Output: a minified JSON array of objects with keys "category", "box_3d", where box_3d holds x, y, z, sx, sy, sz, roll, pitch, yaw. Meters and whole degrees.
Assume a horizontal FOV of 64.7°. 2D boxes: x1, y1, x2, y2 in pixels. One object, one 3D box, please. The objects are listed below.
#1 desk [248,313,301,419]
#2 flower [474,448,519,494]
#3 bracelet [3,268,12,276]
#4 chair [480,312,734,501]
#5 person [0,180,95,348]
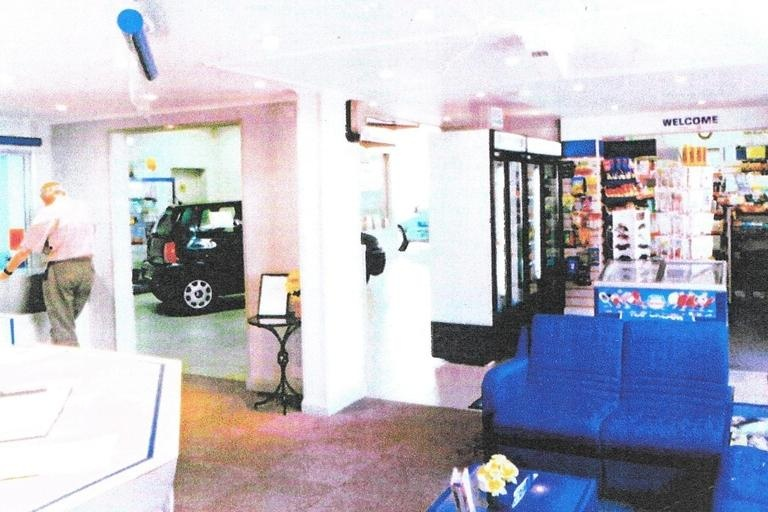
[{"category":"desk","box_3d":[-1.149,1.060,6.354,0.518,0.949,0.740,-3,10,-11]},{"category":"flower","box_3d":[0.683,1.339,3.710,0.245,0.219,0.117,-1,9,2]},{"category":"bracelet","box_3d":[-4.309,0.167,6.900,0.078,0.077,0.083,-12,-32,-53]},{"category":"chair","box_3d":[1.904,1.178,5.013,2.364,1.466,1.277,0,-1,25]},{"category":"person","box_3d":[-3.968,0.128,7.363,0.824,2.017,0.885,-3,10,-9]}]
